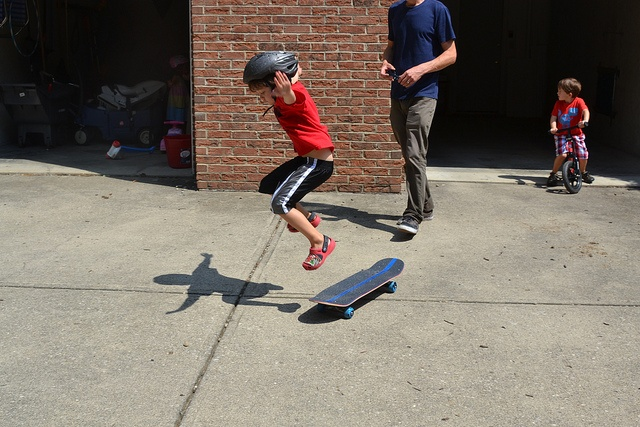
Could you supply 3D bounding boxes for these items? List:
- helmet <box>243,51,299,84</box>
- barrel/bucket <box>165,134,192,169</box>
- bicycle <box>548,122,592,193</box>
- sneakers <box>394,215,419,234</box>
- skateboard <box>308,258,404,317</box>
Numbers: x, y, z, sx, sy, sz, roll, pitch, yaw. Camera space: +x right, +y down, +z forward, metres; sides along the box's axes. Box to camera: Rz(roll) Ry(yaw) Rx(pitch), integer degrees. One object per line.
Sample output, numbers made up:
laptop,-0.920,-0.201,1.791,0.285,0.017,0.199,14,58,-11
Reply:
helmet,-0.395,-1.156,4.196,0.398,0.139,0.248,-18,26,-9
barrel/bucket,-2.246,-0.972,8.544,0.510,0.529,0.318,1,13,6
bicycle,3.504,-0.742,7.486,0.367,0.885,0.624,5,14,20
sneakers,0.946,0.122,5.719,0.181,0.161,0.220,4,12,16
skateboard,0.342,0.587,4.425,0.322,0.159,1.060,12,21,37
